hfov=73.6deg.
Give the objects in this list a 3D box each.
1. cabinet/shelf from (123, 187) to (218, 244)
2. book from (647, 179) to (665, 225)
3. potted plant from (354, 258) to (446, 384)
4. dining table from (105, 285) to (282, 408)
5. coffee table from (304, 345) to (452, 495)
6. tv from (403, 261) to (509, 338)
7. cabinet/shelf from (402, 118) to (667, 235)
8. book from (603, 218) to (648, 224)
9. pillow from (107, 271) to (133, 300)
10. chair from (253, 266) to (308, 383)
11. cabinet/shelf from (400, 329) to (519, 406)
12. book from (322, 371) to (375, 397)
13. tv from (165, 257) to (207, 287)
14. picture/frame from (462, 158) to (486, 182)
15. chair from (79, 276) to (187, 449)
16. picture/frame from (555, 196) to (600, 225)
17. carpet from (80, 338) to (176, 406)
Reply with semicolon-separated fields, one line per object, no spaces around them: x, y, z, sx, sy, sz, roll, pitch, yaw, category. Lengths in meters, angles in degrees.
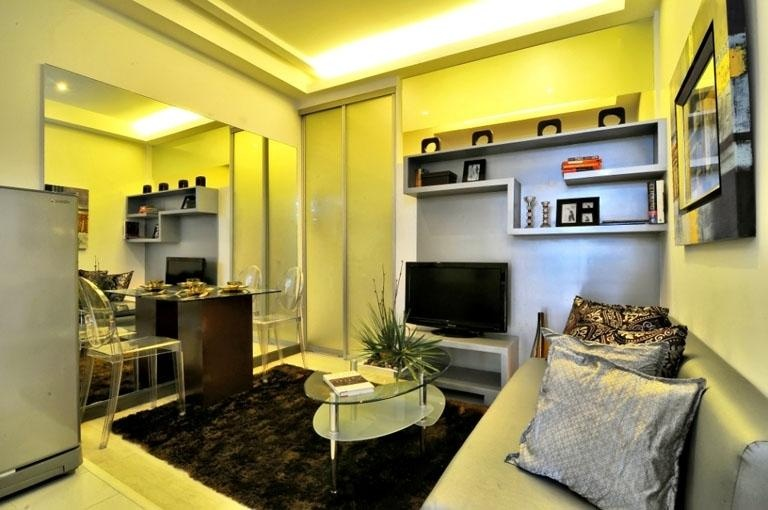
-2.007;-0.354;4.786;0.865;0.454;0.230;-2;-3;23;cabinet/shelf
2.241;-0.440;4.224;0.118;0.356;0.191;0;3;23;book
0.157;0.608;3.989;0.469;0.701;0.554;-1;-2;-30;potted plant
-1.709;0.854;4.869;1.069;0.877;1.010;-3;-4;22;dining table
-0.094;1.213;4.000;0.888;0.629;1.332;6;7;36;coffee table
0.736;0.431;4.960;0.771;0.519;0.211;1;1;26;tv
1.333;-0.644;4.733;2.202;0.921;0.419;0;3;25;cabinet/shelf
2.077;-0.291;4.391;0.279;0.020;0.209;0;10;12;book
-2.341;0.267;4.551;0.068;0.207;0.227;2;-3;26;pillow
-1.179;0.693;5.501;0.560;1.059;0.651;-2;0;44;chair
0.660;0.966;4.404;0.793;0.440;0.301;3;4;35;cabinet/shelf
-0.254;0.921;3.730;0.336;0.080;0.388;-3;3;-20;book
-1.951;0.155;5.016;0.031;0.253;0.297;1;-3;31;tv
0.895;-0.834;5.053;0.281;0.308;0.041;-3;-15;29;picture/frame
-2.199;0.826;4.351;0.904;1.262;0.919;-2;3;6;chair
1.740;-0.396;4.580;0.285;0.225;0.028;0;-11;24;picture/frame
-2.222;1.002;4.398;0.565;0.670;0.726;1;0;22;carpet
